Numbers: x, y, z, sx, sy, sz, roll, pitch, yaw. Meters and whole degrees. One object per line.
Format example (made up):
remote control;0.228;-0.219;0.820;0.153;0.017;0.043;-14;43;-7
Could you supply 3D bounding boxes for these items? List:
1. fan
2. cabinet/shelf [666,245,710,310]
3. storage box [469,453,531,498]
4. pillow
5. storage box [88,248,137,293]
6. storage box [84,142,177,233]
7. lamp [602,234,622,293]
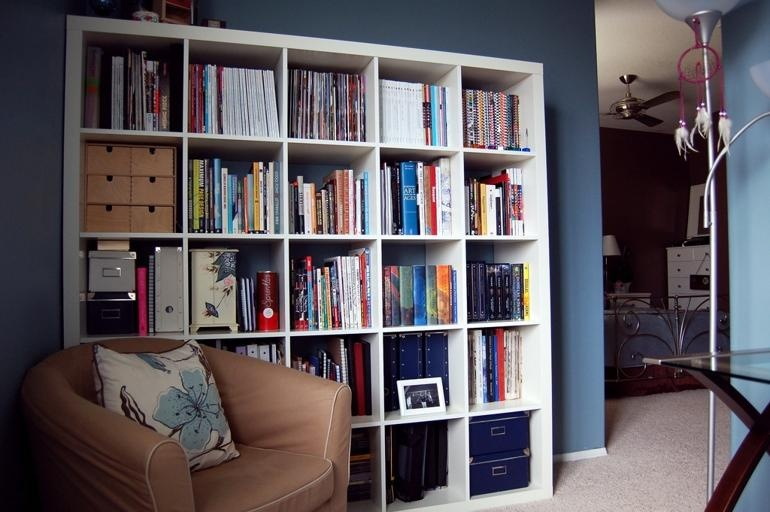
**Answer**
fan;2.483;-1.532;6.108;0.671;0.298;0.664;2;-3;-38
cabinet/shelf;3.719;0.260;7.644;0.291;0.750;0.763;-1;4;-26
storage box;0.654;1.255;3.587;0.272;0.139;0.220;-2;0;-13
pillow;-0.974;0.652;2.815;0.570;0.585;0.173;7;-29;-46
storage box;-1.423;0.077;3.291;0.217;0.214;0.216;1;-2;-42
storage box;-1.335;-0.340;3.220;0.438;0.443;0.232;0;-5;-10
lamp;2.886;0.091;7.946;0.226;0.662;0.552;-4;1;23
